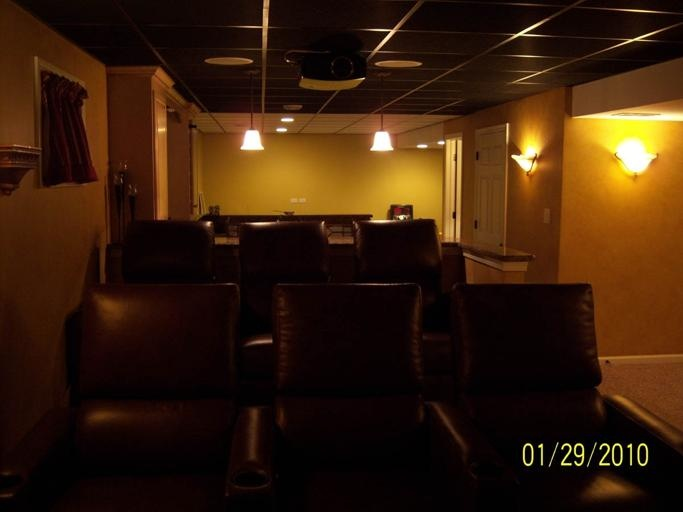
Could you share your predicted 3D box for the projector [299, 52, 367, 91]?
[{"bbox_3d":[-0.093,-1.427,4.375,0.307,0.126,0.312,0,-3,-13],"label":"projector"}]
